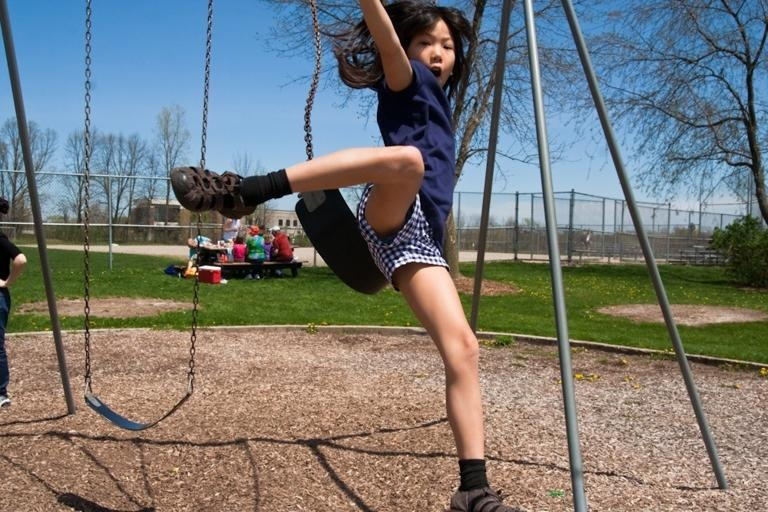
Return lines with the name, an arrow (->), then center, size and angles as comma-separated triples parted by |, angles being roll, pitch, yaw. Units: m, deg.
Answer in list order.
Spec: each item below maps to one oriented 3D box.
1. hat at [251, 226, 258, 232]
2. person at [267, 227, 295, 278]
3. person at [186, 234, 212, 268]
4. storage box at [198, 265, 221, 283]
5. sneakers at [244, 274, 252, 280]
hat -> -2.762, -0.596, 13.748 | 0.123, 0.055, 0.125 | 2, -6, 3
person -> -2.334, -0.289, 14.403 | 0.565, 0.821, 0.613 | -3, 2, 21
person -> -3.782, -0.113, 13.133 | 0.483, 0.200, 0.729 | -10, 14, -3
storage box -> -3.339, 0.347, 12.335 | 0.472, 0.308, 0.307 | 5, 8, 28
sneakers -> -2.926, 0.435, 13.881 | 0.088, 0.097, 0.136 | -6, 11, -14
